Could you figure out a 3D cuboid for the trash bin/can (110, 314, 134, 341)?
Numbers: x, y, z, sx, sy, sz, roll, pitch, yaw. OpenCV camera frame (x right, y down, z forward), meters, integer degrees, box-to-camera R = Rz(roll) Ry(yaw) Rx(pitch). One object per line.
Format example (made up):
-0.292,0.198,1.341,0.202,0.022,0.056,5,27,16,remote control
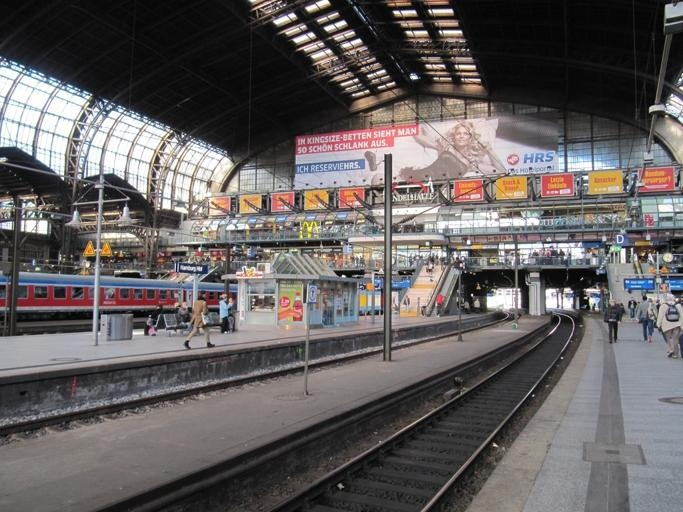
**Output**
-9.086,2.889,23.932,0.857,1.043,0.996,2,-4,-23,trash bin/can

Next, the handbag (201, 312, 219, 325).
-5.810,2.738,25.618,0.391,0.726,1.065,0,-6,20,handbag

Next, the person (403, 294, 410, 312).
5.745,4.060,51.110,0.539,1.466,1.993,0,-4,8,person

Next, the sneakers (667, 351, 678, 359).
12.588,3.740,21.991,0.189,0.263,0.587,-7,-16,34,sneakers
